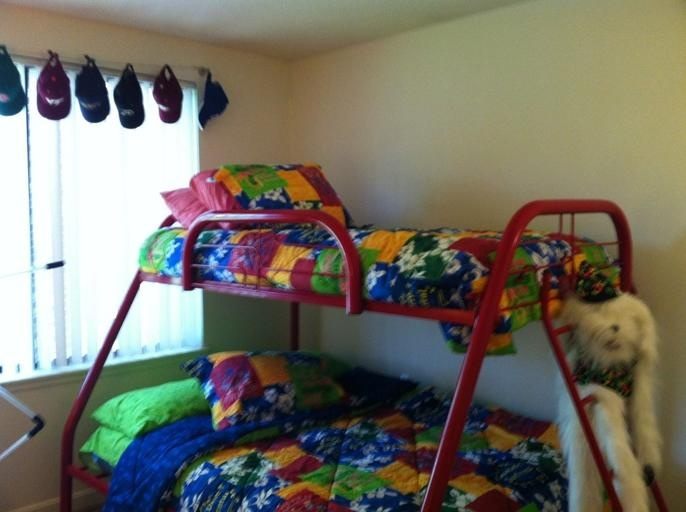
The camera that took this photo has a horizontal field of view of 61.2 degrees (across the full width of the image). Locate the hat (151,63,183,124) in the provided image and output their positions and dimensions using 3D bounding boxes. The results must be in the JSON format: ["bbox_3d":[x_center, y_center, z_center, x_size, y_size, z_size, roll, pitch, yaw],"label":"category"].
[{"bbox_3d":[-1.032,-0.973,3.476,0.122,0.344,0.209,7,15,28],"label":"hat"}]

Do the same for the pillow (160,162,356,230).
[{"bbox_3d":[-0.394,-0.357,3.090,0.596,0.188,0.513,-11,49,-34],"label":"pillow"}]

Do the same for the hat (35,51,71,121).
[{"bbox_3d":[-1.568,-0.916,3.129,0.167,0.362,0.120,-10,16,-37],"label":"hat"}]

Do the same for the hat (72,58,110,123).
[{"bbox_3d":[-1.410,-0.932,3.246,0.171,0.360,0.122,-6,14,-25],"label":"hat"}]

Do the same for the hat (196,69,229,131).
[{"bbox_3d":[-0.825,-0.985,3.634,0.200,0.345,0.072,-9,15,-34],"label":"hat"}]

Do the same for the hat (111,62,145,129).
[{"bbox_3d":[-1.227,-0.907,3.302,0.165,0.353,0.081,-5,12,-4],"label":"hat"}]
